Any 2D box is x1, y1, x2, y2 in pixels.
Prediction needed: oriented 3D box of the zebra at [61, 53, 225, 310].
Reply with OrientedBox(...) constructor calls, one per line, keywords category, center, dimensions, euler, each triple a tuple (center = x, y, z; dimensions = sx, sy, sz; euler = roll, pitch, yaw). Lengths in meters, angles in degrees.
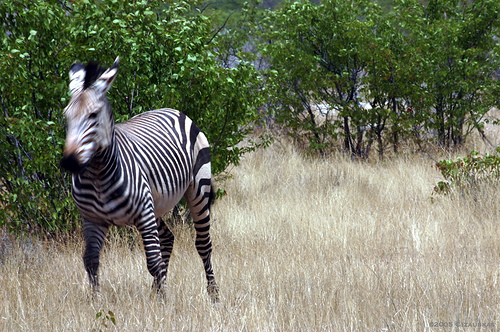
OrientedBox(category="zebra", center=(-1.860, 0.419, 13.104), dimensions=(1.305, 4.025, 5.035), euler=(2, 3, 22))
